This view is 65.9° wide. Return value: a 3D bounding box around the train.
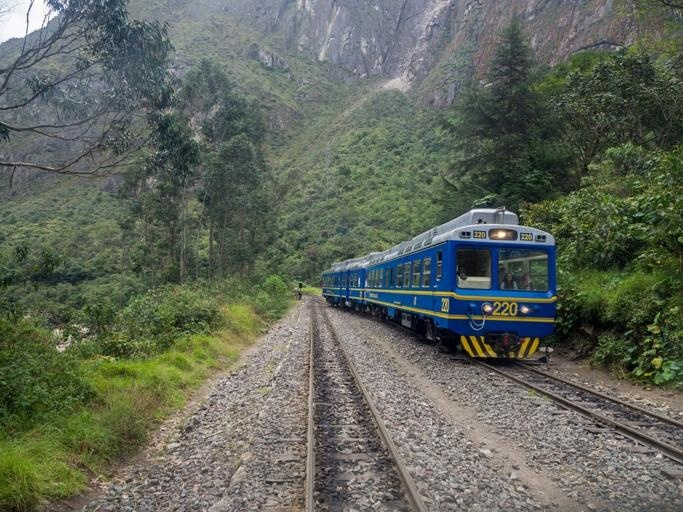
[{"bbox_3d":[3.260,1.383,22.795,2.710,3.726,16.828,3,-4,-10],"label":"train"}]
